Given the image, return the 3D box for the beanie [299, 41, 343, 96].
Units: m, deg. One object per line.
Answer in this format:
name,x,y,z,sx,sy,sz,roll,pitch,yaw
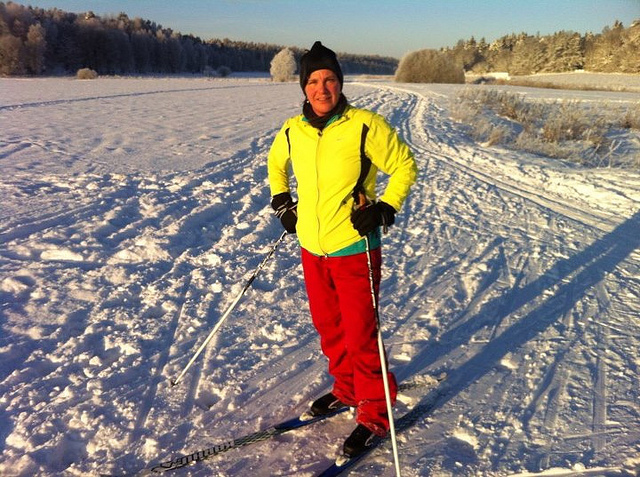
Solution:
beanie,-0.015,-1.733,5.350,0.431,0.401,0.330,12,3,-23
